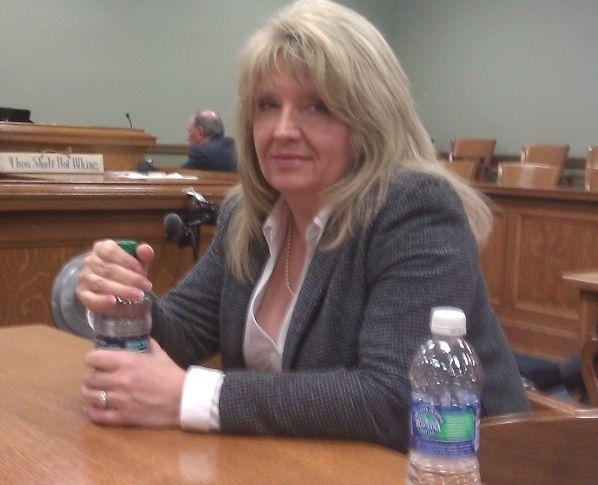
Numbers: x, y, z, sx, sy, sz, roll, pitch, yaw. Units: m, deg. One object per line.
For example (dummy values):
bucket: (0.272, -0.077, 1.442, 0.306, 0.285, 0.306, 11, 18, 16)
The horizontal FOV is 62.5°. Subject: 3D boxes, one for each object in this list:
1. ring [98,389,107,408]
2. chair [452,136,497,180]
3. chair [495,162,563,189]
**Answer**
ring: (-0.356, 0.282, 0.891, 0.009, 0.028, 0.020, 3, -10, -18)
chair: (2.094, -1.036, 5.857, 0.480, 0.764, 0.537, 2, -2, 19)
chair: (1.883, -0.547, 4.023, 0.337, 0.155, 0.268, 4, 7, 30)
